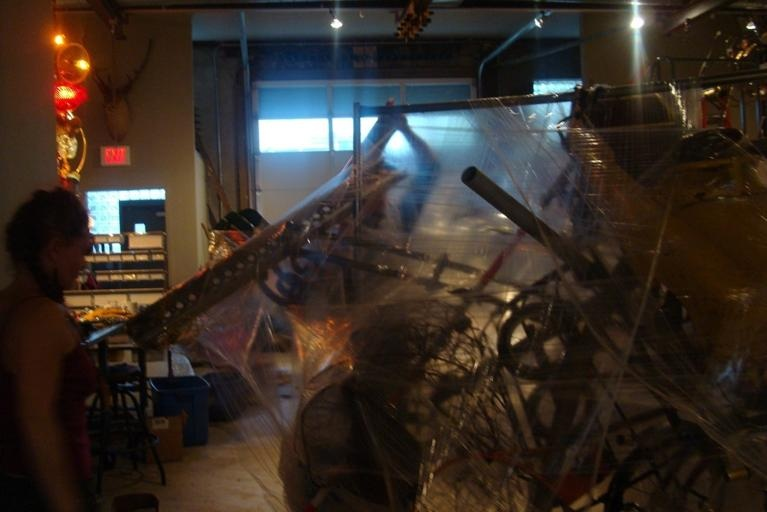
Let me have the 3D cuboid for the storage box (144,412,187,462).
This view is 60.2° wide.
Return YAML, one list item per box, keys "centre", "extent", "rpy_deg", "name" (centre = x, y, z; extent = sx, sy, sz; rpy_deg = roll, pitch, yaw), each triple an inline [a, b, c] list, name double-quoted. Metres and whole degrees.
- centre: [-1.606, 1.325, 4.803]
  extent: [0.289, 0.306, 0.152]
  rpy_deg: [-5, 9, 12]
  name: "storage box"

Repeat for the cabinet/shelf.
- centre: [-2.270, 0.160, 5.607]
  extent: [0.683, 0.394, 0.666]
  rpy_deg: [-1, 46, -5]
  name: "cabinet/shelf"
